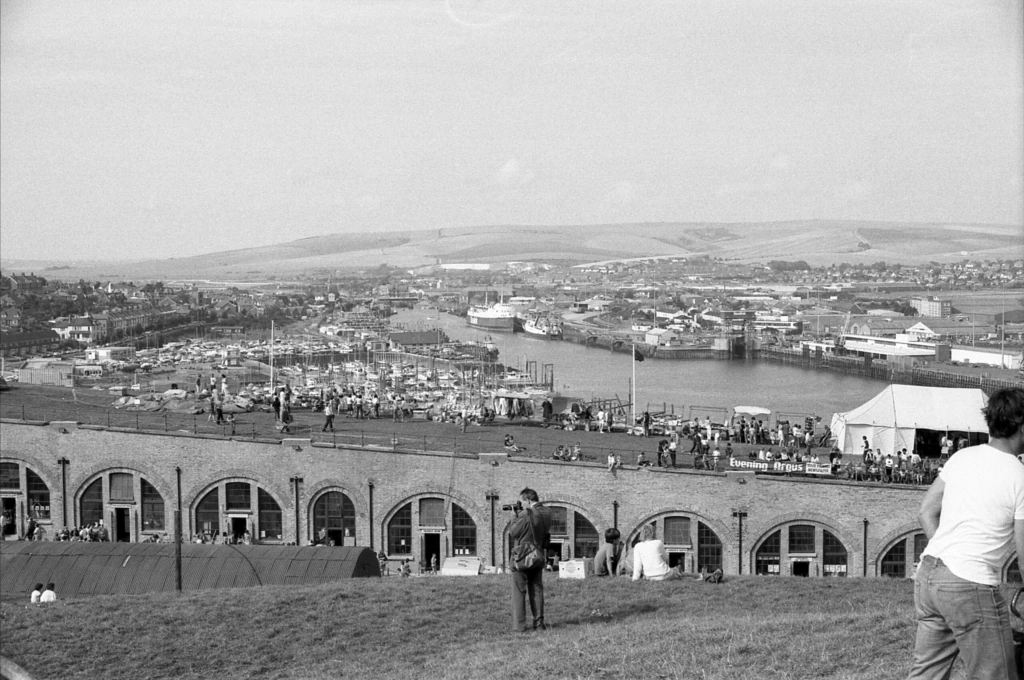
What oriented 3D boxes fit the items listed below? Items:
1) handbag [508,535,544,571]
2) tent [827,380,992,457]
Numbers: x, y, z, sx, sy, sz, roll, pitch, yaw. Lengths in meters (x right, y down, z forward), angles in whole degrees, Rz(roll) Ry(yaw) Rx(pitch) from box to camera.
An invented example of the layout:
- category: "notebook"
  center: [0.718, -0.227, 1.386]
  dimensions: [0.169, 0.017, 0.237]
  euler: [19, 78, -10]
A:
- category: "handbag"
  center: [0.596, 6.798, 62.162]
  dimensions: [0.931, 0.919, 0.879]
  euler: [1, 9, 10]
- category: "tent"
  center: [17.642, 3.350, 80.817]
  dimensions: [4.533, 2.794, 7.472]
  euler: [-3, 1, -28]
